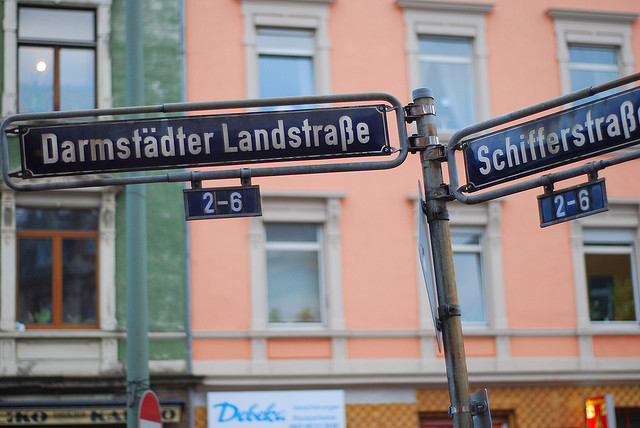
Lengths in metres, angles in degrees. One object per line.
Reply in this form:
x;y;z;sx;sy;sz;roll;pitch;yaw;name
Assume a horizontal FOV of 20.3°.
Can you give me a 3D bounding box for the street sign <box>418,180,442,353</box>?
1.860;0.915;30.851;0.269;2.781;0.731;-6;-13;16;street sign
